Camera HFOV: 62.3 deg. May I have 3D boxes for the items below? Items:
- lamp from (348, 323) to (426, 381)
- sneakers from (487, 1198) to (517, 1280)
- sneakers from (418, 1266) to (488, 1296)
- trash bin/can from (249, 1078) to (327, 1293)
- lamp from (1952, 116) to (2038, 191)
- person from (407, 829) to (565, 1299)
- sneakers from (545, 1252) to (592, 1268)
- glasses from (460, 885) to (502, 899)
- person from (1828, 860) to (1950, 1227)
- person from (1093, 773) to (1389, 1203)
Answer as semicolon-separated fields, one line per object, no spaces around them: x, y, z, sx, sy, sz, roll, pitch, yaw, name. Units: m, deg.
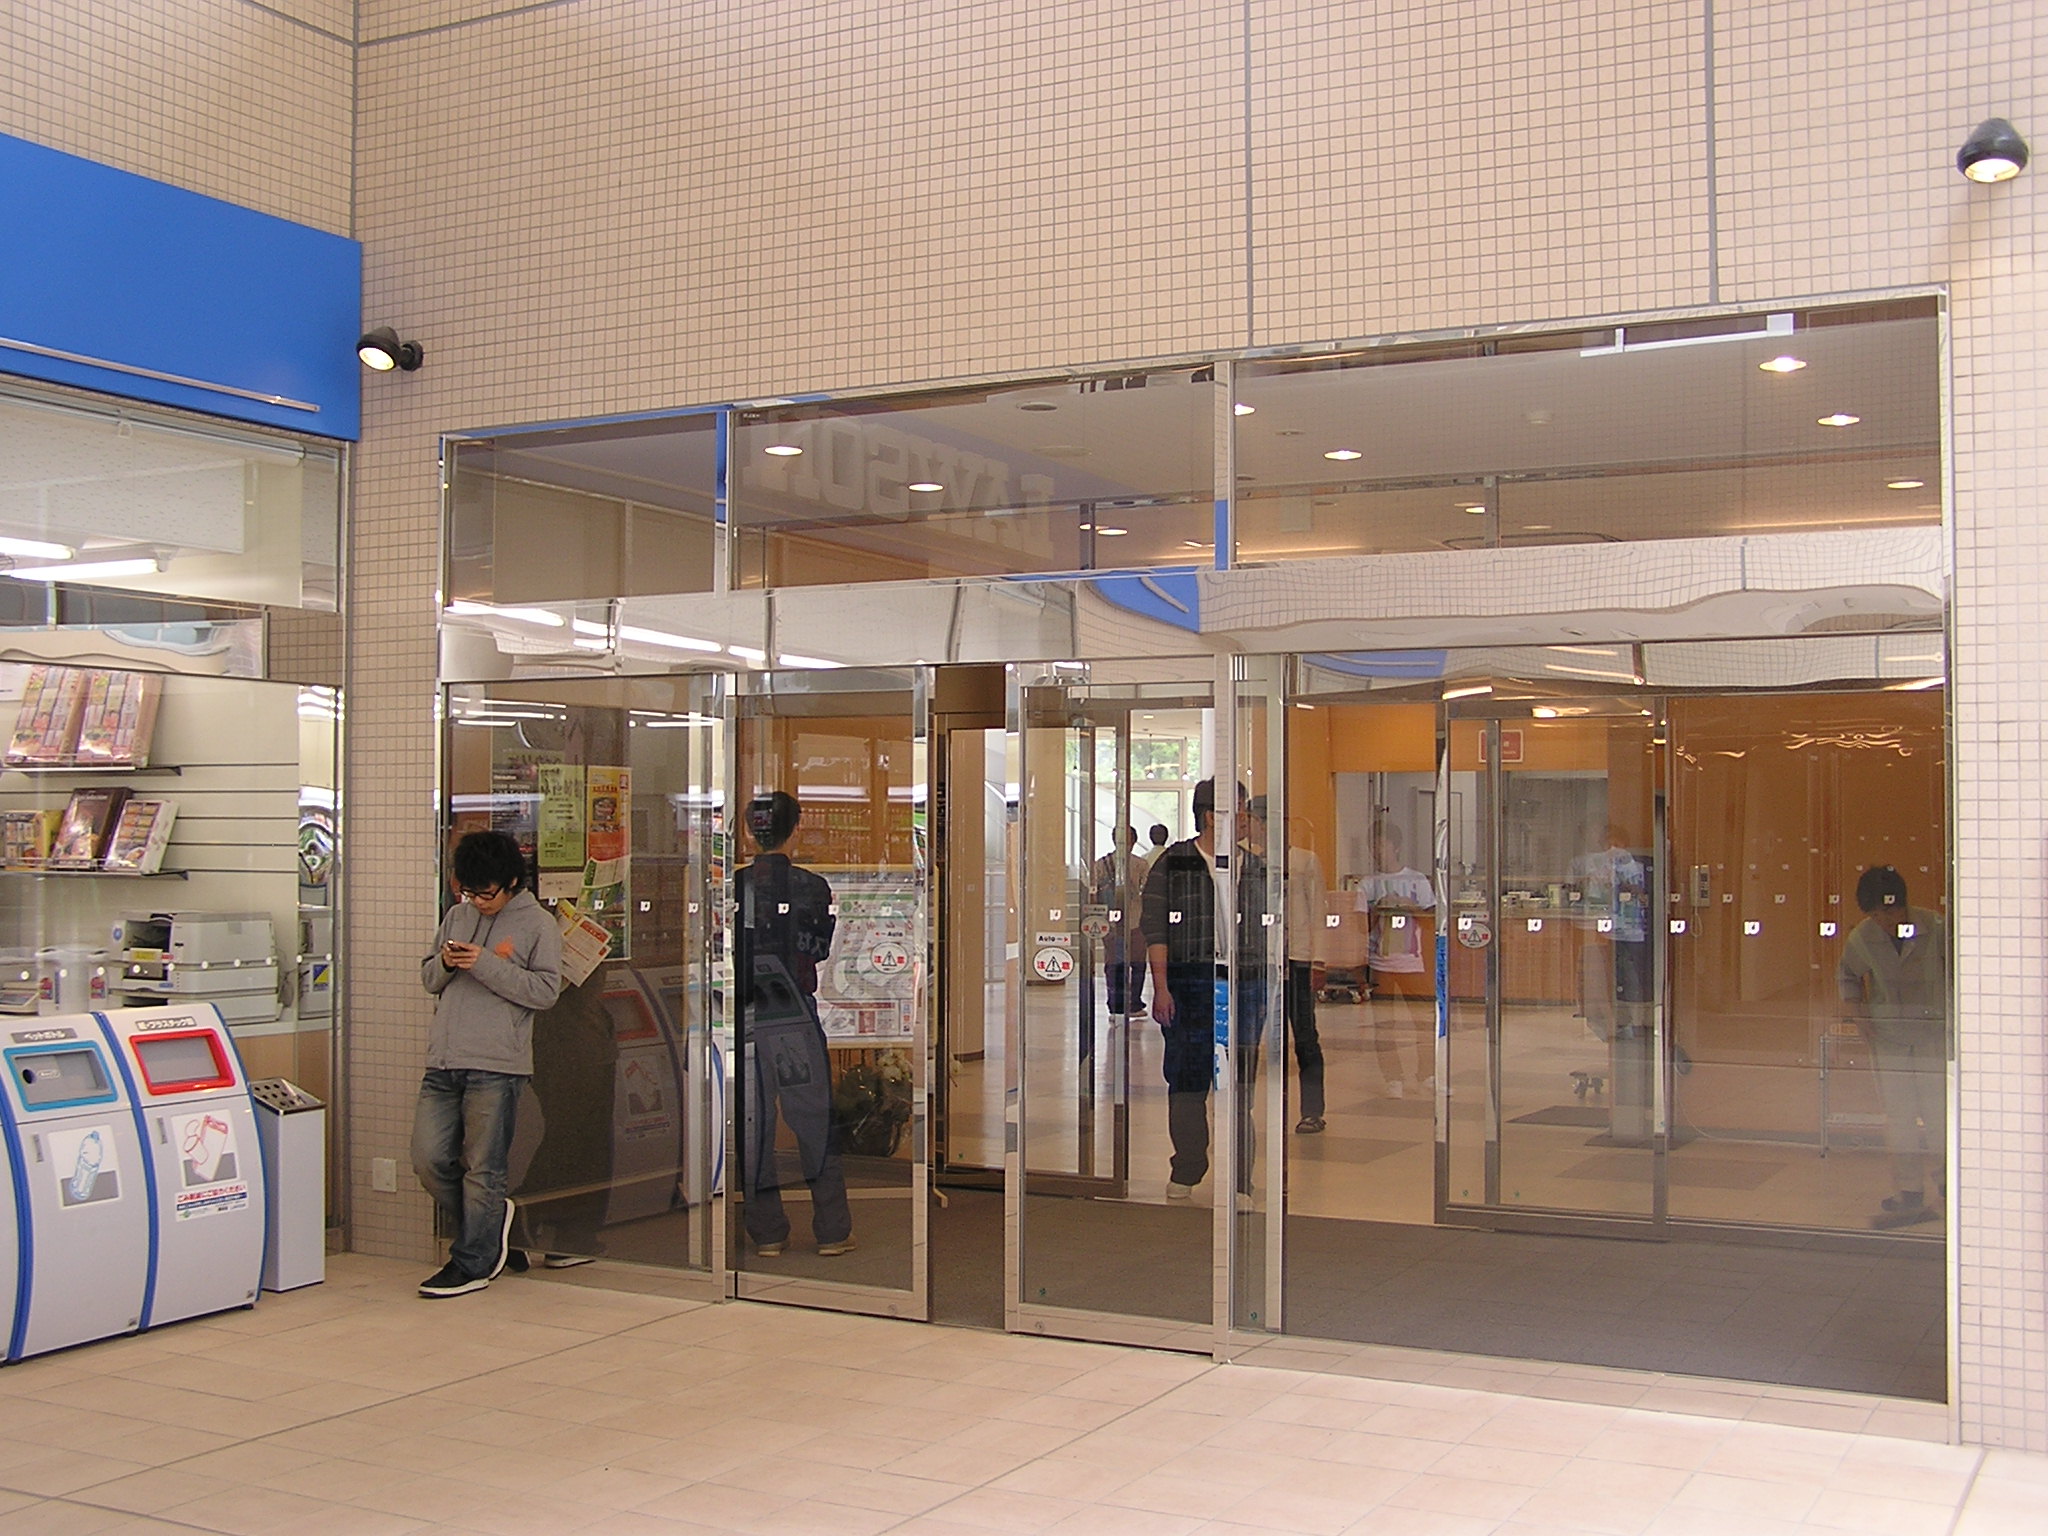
-2.945;-1.925;7.858;0.200;0.132;0.270;-11;-18;36;lamp
-2.276;2.079;7.508;0.106;0.297;0.120;2;-16;14;sneakers
-2.472;2.219;7.359;0.110;0.100;0.292;-5;-12;28;sneakers
-3.223;1.833;7.432;0.286;0.876;0.223;1;-2;-25;trash bin/can
3.085;-1.948;5.427;0.223;0.191;0.215;5;-11;6;lamp
-2.382;1.269;7.432;0.683;1.996;0.411;-1;-2;23;person
-2.019;2.172;7.525;0.212;0.080;0.073;1;-4;-6;sneakers
-2.395;0.536;7.409;0.250;0.069;0.107;-1;-2;40;glasses
2.928;0.933;5.699;0.305;1.223;0.102;-1;-2;23;person
0.796;0.836;6.537;0.701;1.615;0.182;0;-2;7;person
